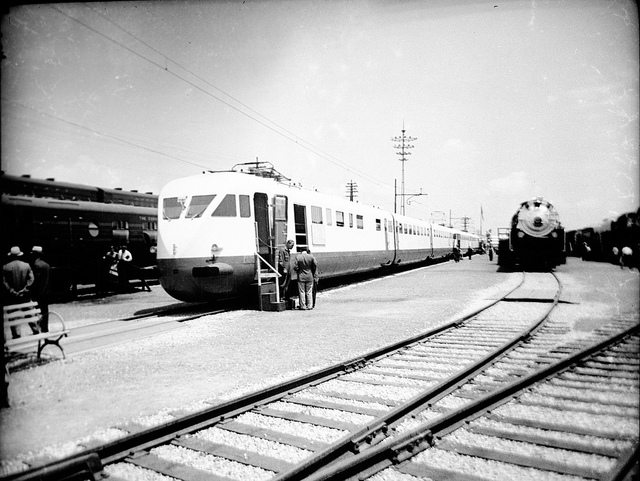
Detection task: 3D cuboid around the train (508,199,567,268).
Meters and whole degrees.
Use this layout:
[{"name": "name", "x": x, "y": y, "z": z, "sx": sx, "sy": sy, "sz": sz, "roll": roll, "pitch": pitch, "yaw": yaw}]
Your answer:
[{"name": "train", "x": 11.385, "y": -0.378, "z": 26.804, "sx": 2.507, "sy": 3.472, "sz": 2.711, "roll": 0, "pitch": 2, "yaw": 22}]

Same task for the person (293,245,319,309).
[{"name": "person", "x": -0.416, "y": 1.130, "z": 14.605, "sx": 0.595, "sy": 1.672, "sz": 0.555, "roll": -1, "pitch": 2, "yaw": -5}]

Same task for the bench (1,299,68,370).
[{"name": "bench", "x": -5.443, "y": 1.817, "z": 9.644, "sx": 0.556, "sy": 0.711, "sz": 1.341, "roll": 8, "pitch": 5, "yaw": 9}]

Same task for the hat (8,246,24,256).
[{"name": "hat", "x": -6.476, "y": 0.225, "z": 10.782, "sx": 0.273, "sy": 0.124, "sz": 0.230, "roll": 3, "pitch": 11, "yaw": 10}]

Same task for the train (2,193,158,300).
[{"name": "train", "x": -8.670, "y": 0.217, "z": 18.758, "sx": 1.008, "sy": 3.429, "sz": 6.933, "roll": 0, "pitch": 2, "yaw": 20}]
